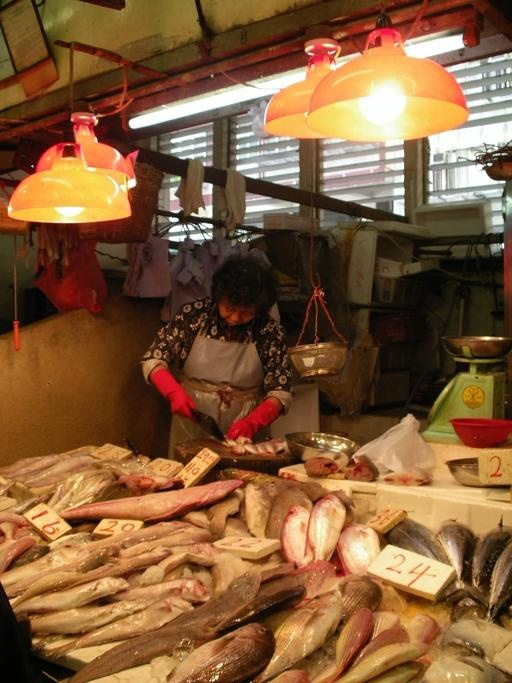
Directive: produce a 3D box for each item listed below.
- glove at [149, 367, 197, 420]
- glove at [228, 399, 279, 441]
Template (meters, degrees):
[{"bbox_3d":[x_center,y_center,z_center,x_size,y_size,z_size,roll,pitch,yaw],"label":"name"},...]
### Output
[{"bbox_3d":[-0.568,0.390,3.938,0.148,0.206,0.540,30,5,-31],"label":"glove"},{"bbox_3d":[0.001,0.541,3.706,0.147,0.154,0.539,9,22,34],"label":"glove"}]
